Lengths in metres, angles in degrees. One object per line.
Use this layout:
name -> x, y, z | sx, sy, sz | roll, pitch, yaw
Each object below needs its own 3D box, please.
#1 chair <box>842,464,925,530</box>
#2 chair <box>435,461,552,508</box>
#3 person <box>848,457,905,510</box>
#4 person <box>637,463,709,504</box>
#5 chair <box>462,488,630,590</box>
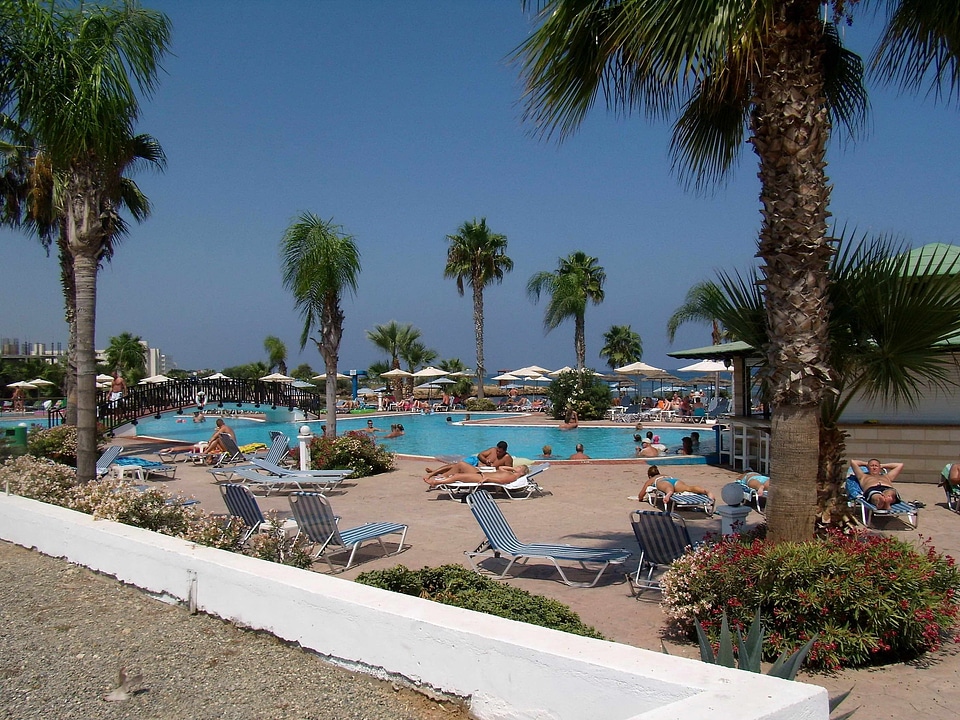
chair -> 6.241, 2.052, 12.934 | 0.797, 0.767, 1.471 | -1, 7, 13
chair -> 0.190, 2.316, 15.109 | 1.531, 0.500, 0.866 | 1, -4, 4
person -> 6.333, 1.926, 13.282 | 0.809, 0.648, 1.613 | -3, -2, 11
person -> 3.089, 2.109, 13.848 | 0.635, 0.505, 1.120 | -1, 1, -14
chair -> 0.788, 2.196, 9.976 | 1.739, 0.834, 0.617 | -3, -4, 27
